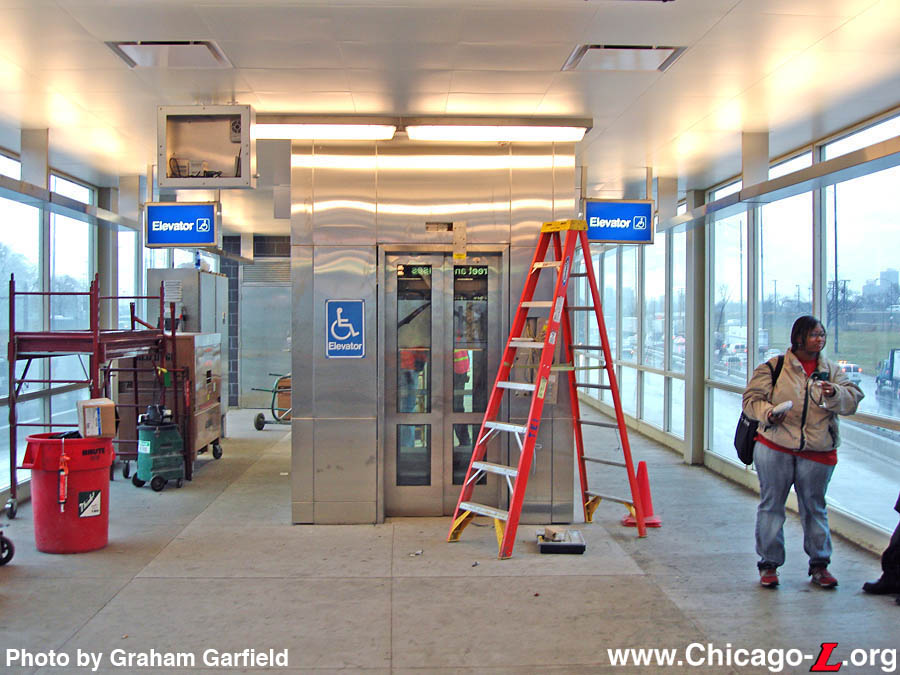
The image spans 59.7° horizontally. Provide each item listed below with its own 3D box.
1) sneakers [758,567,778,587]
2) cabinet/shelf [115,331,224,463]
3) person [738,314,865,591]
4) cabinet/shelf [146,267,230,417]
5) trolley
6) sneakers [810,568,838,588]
[{"bbox_3d":[2.623,2.000,6.449,0.092,0.098,0.235,-1,-9,6],"label":"sneakers"},{"bbox_3d":[-3.709,0.814,10.210,0.938,1.590,1.875,0,0,-1],"label":"cabinet/shelf"},{"bbox_3d":[2.864,0.953,6.467,0.858,2.223,0.500,2,7,16],"label":"person"},{"bbox_3d":[-3.873,0.085,11.429,0.862,2.323,2.604,-1,-1,-4],"label":"cabinet/shelf"},{"bbox_3d":[-3.881,1.041,10.677,0.952,1.472,1.312,-11,-6,0],"label":"trolley"},{"bbox_3d":[3.090,2.012,6.494,0.111,0.103,0.248,-2,-8,-4],"label":"sneakers"}]
